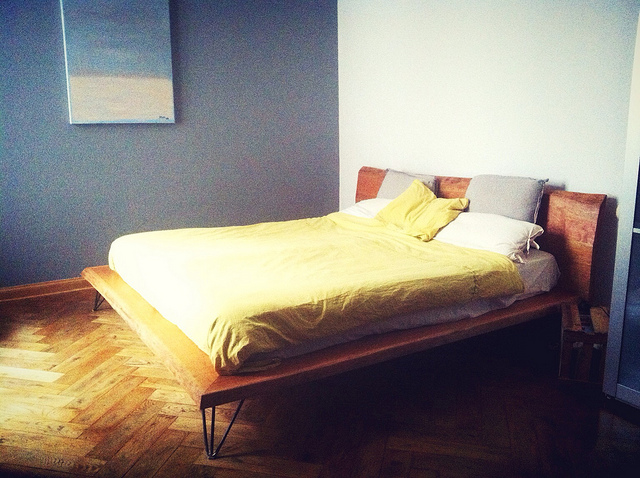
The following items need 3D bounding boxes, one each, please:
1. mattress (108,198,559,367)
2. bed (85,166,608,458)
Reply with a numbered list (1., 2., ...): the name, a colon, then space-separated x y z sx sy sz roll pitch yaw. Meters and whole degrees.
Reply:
1. mattress: -0.165 0.208 3.982 2.633 0.815 2.416 -4 12 -25
2. bed: 0.285 0.236 3.282 2.404 0.917 2.189 -7 14 -28
